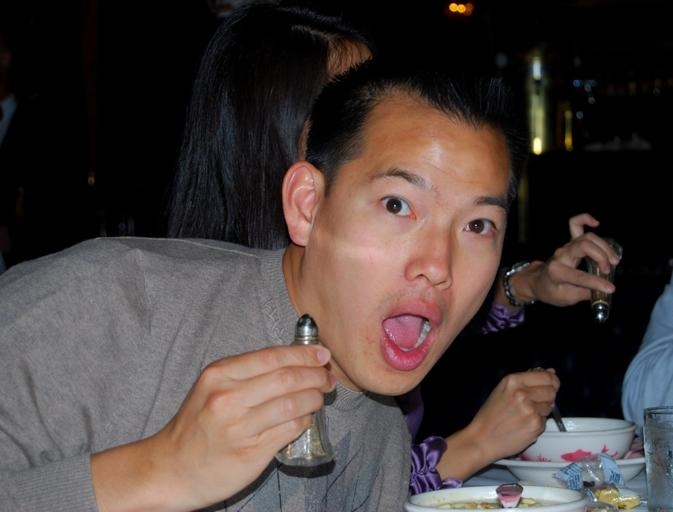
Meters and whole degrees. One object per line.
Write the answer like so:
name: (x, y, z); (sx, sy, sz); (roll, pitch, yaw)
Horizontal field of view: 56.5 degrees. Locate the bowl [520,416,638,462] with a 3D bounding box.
bowl: (0.795, 0.620, 2.041); (0.307, 0.105, 0.325); (-1, -14, 0)
